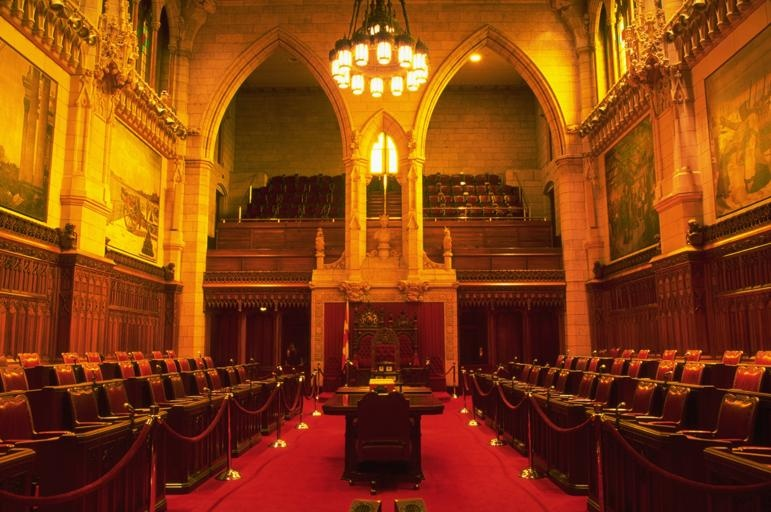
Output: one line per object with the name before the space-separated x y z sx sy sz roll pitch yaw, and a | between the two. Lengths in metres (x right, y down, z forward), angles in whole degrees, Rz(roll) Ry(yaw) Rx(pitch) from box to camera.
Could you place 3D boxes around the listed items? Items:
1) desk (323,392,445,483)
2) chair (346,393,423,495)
desk | -0.026 3.104 11.411 2.033 1.306 2.078 0 -2 -1
chair | 0.000 2.878 10.246 1.189 1.505 0.711 0 7 -5
